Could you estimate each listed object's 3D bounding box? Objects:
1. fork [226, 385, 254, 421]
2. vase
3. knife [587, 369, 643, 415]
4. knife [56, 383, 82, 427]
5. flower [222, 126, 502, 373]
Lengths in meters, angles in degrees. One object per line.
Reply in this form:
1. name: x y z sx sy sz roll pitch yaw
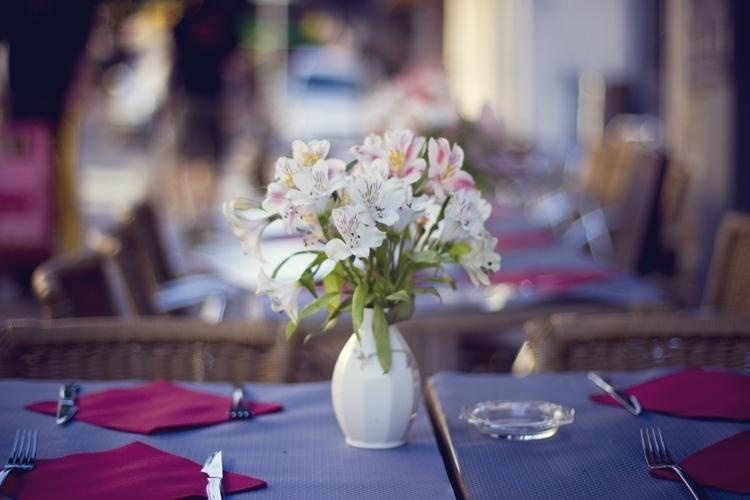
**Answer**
1. fork: -0.339 0.380 1.754 0.040 0.049 0.079 0 21 -4
2. vase: -0.003 0.288 1.625 0.241 0.391 0.264 0 -6 -2
3. knife: 0.600 0.355 1.779 0.038 0.028 0.131 -33 30 -10
4. knife: -0.759 0.377 1.744 0.040 0.019 0.119 9 26 -9
5. flower: -0.021 -0.059 1.828 0.493 0.555 0.563 -4 11 -20
